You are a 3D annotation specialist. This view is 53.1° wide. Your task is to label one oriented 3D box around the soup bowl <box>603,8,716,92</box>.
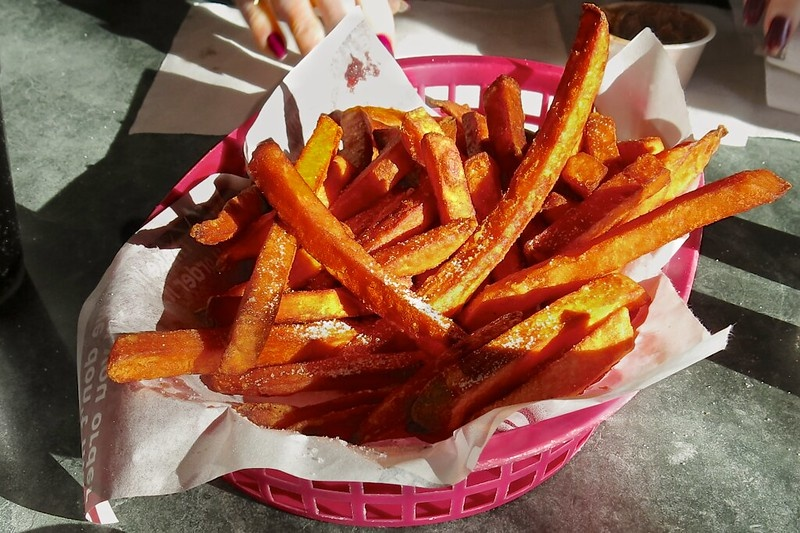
[{"bbox_3d":[0.911,-0.836,2.790,0.335,0.164,0.363,-2,49,2],"label":"soup bowl"}]
